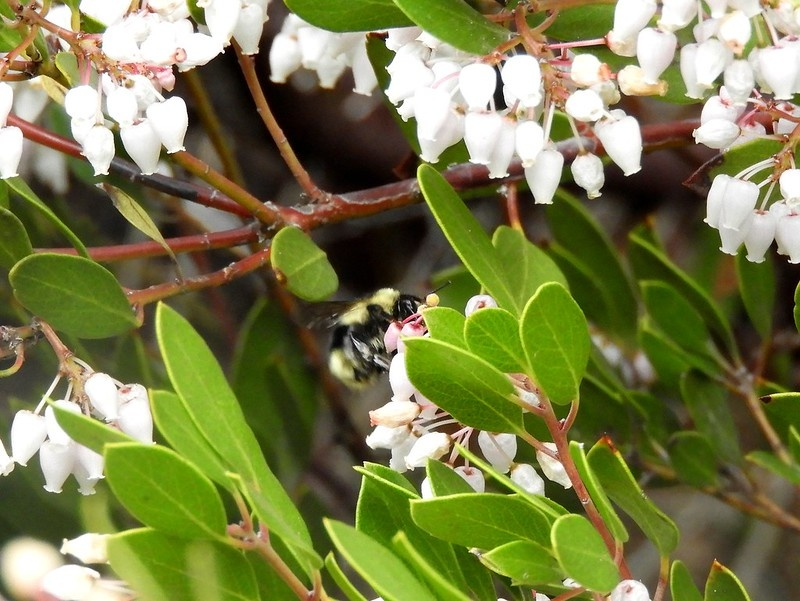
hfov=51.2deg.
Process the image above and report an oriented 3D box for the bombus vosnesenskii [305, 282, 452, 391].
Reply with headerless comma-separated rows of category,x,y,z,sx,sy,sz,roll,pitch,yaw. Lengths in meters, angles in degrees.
bombus vosnesenskii,-0.054,0.073,1.570,0.176,0.094,0.257,14,-30,-34
